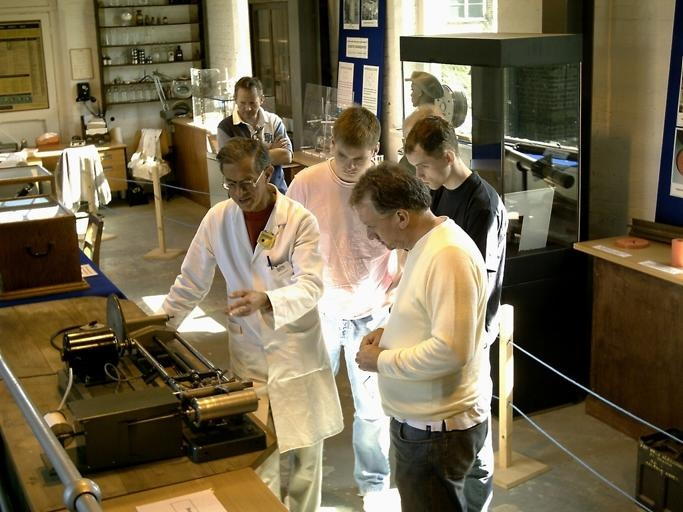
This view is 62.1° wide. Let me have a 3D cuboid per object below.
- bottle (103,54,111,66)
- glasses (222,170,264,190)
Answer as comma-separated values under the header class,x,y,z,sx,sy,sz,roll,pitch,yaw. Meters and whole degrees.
class,x,y,z,sx,sy,sz,roll,pitch,yaw
bottle,-3.939,-3.280,9.521,0.101,0.167,0.160,3,3,39
glasses,-0.420,-0.315,2.413,0.180,0.071,0.116,-6,17,1
